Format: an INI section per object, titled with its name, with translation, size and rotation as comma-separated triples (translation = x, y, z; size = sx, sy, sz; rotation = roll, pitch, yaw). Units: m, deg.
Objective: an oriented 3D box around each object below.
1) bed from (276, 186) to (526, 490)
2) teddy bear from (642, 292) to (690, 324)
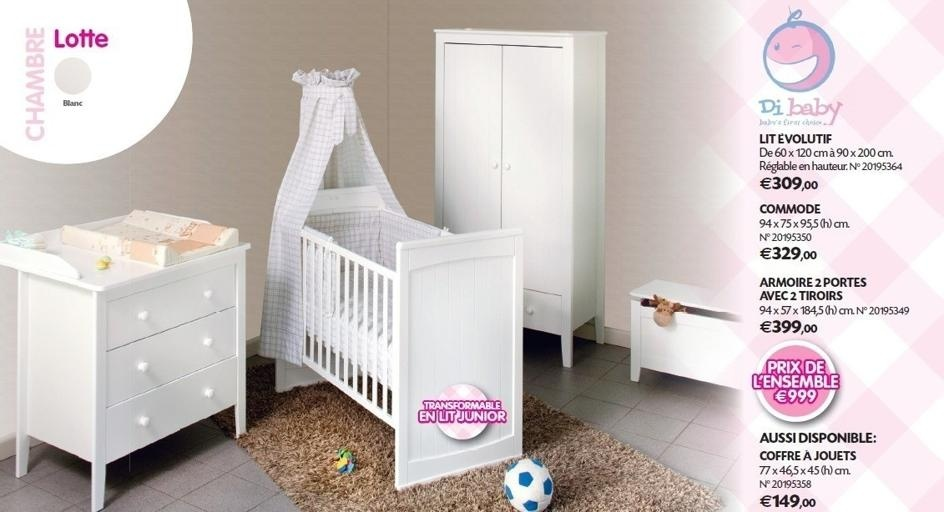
[bed]
translation = -0.428, 0.490, 4.367
size = 1.020, 1.442, 1.684
rotation = -20, 30, -40
[teddy bear]
translation = 1.389, 0.387, 4.790
size = 0.230, 0.203, 0.067
rotation = 16, 17, 14
